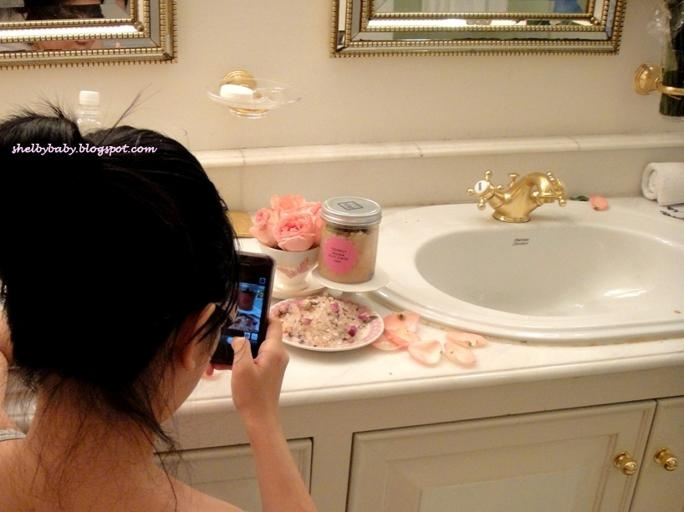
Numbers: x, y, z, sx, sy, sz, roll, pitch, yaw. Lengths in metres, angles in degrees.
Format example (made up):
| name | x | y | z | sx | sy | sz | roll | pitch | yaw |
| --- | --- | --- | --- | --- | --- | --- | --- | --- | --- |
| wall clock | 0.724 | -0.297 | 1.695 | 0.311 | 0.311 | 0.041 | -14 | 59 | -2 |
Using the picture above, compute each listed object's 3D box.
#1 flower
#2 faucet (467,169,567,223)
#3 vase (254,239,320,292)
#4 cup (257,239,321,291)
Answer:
| name | x | y | z | sx | sy | sz | roll | pitch | yaw |
| --- | --- | --- | --- | --- | --- | --- | --- | --- | --- |
| flower | -0.104 | -0.076 | 1.022 | 0.112 | 0.058 | 0.108 | -14 | 52 | -16 |
| faucet | 0.393 | -0.164 | 1.268 | 0.160 | 0.080 | 0.155 | 0 | 13 | -7 |
| vase | -0.101 | 0.014 | 1.004 | 0.095 | 0.068 | 0.093 | 4 | 15 | 5 |
| cup | -0.099 | 0.007 | 1.043 | 0.091 | 0.067 | 0.090 | 3 | 16 | -1 |
